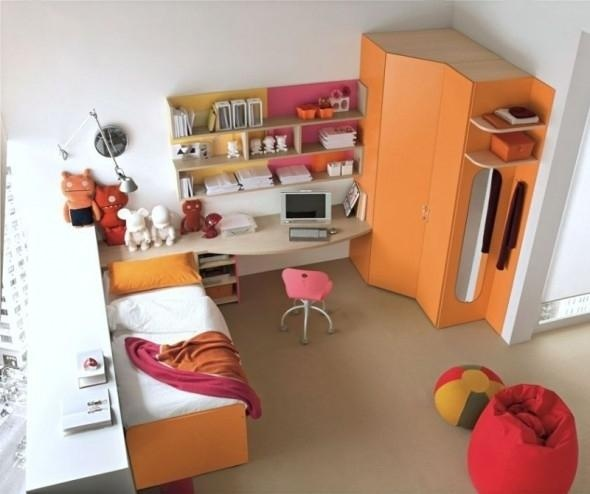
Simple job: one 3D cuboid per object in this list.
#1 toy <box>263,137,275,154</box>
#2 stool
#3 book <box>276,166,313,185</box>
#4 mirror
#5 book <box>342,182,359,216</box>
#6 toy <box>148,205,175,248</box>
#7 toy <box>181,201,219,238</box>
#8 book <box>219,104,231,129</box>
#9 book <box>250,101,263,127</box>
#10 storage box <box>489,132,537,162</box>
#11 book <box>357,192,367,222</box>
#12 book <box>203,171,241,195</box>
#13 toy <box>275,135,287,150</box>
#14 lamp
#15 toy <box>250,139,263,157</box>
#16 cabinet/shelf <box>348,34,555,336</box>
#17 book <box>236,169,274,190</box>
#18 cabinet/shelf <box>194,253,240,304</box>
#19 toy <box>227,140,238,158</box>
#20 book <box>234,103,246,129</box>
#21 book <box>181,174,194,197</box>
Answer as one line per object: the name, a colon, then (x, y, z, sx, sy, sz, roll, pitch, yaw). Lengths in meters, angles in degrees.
toy: (-0.274, -1.110, 5.041, 0.159, 0.199, 0.146, 1, 40, -3)
stool: (0.123, 0.519, 4.972, 0.577, 0.862, 0.590, 4, 23, 8)
book: (-0.007, -0.827, 5.206, 0.262, 0.066, 0.252, -9, 31, -16)
mirror: (1.804, -0.077, 4.684, 0.351, 1.738, 0.031, 3, 34, 11)
book: (0.671, -0.585, 5.560, 0.048, 0.489, 0.392, 12, -2, -17)
toy: (-1.449, -0.254, 5.043, 0.311, 0.443, 0.304, 14, 33, 9)
toy: (-1.050, -0.337, 5.129, 0.474, 0.433, 0.192, 2, 33, -6)
book: (-0.702, -1.309, 4.623, 0.123, 0.252, 0.063, -8, 20, -15)
book: (-0.404, -1.367, 4.693, 0.153, 0.274, 0.067, -11, 20, -21)
storage box: (1.904, -0.891, 4.048, 0.300, 0.190, 0.306, -7, 26, -13)
book: (0.784, -0.482, 5.412, 0.056, 0.251, 0.236, 5, 17, -6)
book: (-0.810, -0.701, 5.020, 0.264, 0.084, 0.268, -8, 30, -13)
toy: (-0.154, -1.175, 5.092, 0.148, 0.179, 0.149, 0, 36, -2)
lamp: (-1.987, -0.999, 4.598, 1.092, 0.732, 0.232, 23, 27, 21)
toy: (-0.422, -1.076, 4.984, 0.135, 0.186, 0.170, 0, 29, -6)
cabinet/shelf: (1.607, -0.655, 4.572, 0.894, 2.614, 1.873, -11, 37, -16)
book: (-0.433, -0.748, 5.042, 0.264, 0.092, 0.269, -8, 29, -17)
cabinet/shelf: (-0.916, 0.273, 5.346, 0.430, 0.766, 0.415, -13, 33, -21)
toy: (-0.676, -1.053, 4.942, 0.141, 0.134, 0.242, 1, 42, -2)
book: (-0.555, -1.342, 4.661, 0.122, 0.246, 0.061, -6, 19, -9)
book: (-1.143, -0.646, 4.929, 0.110, 0.239, 0.169, 2, 20, 14)
